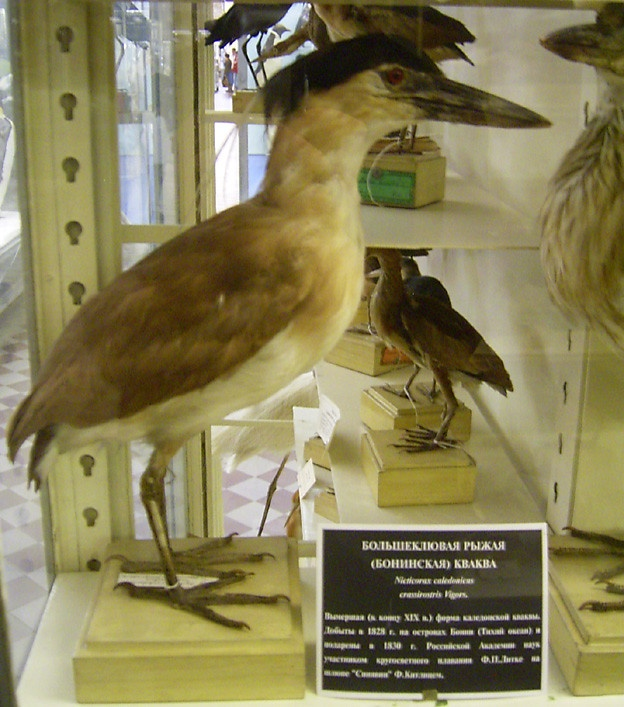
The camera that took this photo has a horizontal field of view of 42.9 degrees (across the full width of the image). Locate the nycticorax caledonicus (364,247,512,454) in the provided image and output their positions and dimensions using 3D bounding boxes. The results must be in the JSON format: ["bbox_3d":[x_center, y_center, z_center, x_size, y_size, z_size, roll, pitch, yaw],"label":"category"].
[{"bbox_3d":[0.156,-0.013,1.024,0.250,0.267,0.130,-4,24,-6],"label":"nycticorax caledonicus"}]

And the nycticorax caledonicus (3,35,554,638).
[{"bbox_3d":[-0.043,-0.027,0.958,0.644,0.666,0.131,-4,13,-12],"label":"nycticorax caledonicus"}]
